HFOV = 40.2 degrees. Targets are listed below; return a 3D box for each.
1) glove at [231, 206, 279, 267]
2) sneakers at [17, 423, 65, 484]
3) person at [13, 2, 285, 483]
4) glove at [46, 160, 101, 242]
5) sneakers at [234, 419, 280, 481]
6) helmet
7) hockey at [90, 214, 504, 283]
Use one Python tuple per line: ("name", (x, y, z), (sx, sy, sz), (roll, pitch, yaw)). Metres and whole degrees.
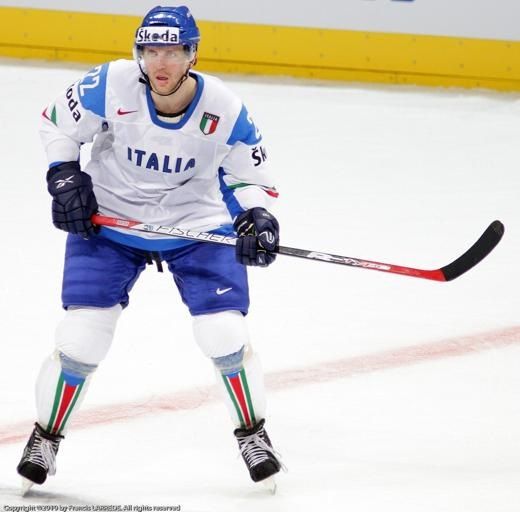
("glove", (-0.018, -0.047, 2.134), (0.164, 0.163, 0.083), (4, -35, -22))
("sneakers", (-0.616, 0.557, 2.036), (0.083, 0.203, 0.076), (28, -81, -18))
("person", (-0.319, -0.036, 2.086), (0.754, 1.313, 0.846), (-2, -32, 1))
("glove", (-0.550, -0.166, 2.131), (0.185, 0.203, 0.098), (-5, -4, 1))
("sneakers", (-0.006, 0.576, 2.102), (0.135, 0.182, 0.114), (-2, -32, 1))
("helmet", (-0.272, -0.657, 2.072), (0.189, 0.210, 0.124), (0, -32, -2))
("hockey", (0.145, -0.015, 2.588), (1.627, 0.169, 0.090), (6, -27, 3))
